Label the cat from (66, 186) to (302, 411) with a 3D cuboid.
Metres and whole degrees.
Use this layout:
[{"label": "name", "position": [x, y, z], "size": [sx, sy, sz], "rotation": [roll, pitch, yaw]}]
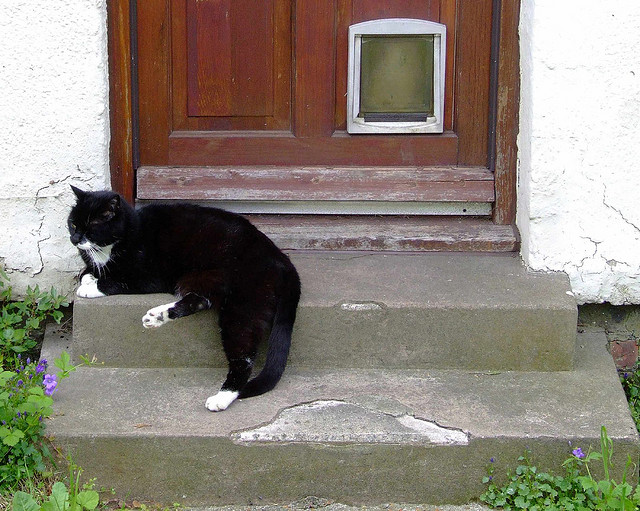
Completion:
[{"label": "cat", "position": [-0.608, 0.116, 3.218], "size": [1.030, 0.850, 0.593], "rotation": [7, 16, 31]}]
